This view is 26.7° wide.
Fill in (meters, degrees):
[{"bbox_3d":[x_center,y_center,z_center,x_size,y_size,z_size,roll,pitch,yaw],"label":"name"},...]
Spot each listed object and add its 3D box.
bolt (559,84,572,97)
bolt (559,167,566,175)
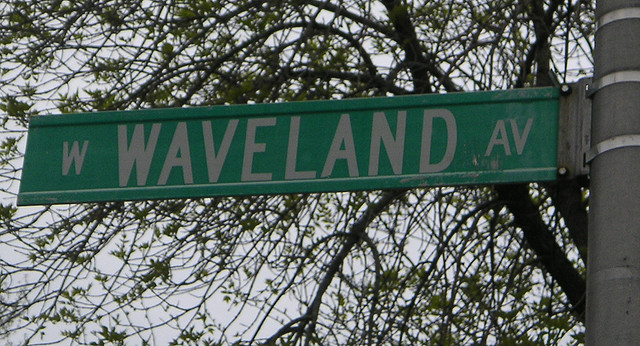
[{"bbox_3d":[1.472,-0.506,8.149,0.075,0.060,0.017,-3,3,19],"label":"bolt"},{"bbox_3d":[1.453,-0.018,8.118,0.041,0.047,0.027,-7,-41,15],"label":"bolt"}]
